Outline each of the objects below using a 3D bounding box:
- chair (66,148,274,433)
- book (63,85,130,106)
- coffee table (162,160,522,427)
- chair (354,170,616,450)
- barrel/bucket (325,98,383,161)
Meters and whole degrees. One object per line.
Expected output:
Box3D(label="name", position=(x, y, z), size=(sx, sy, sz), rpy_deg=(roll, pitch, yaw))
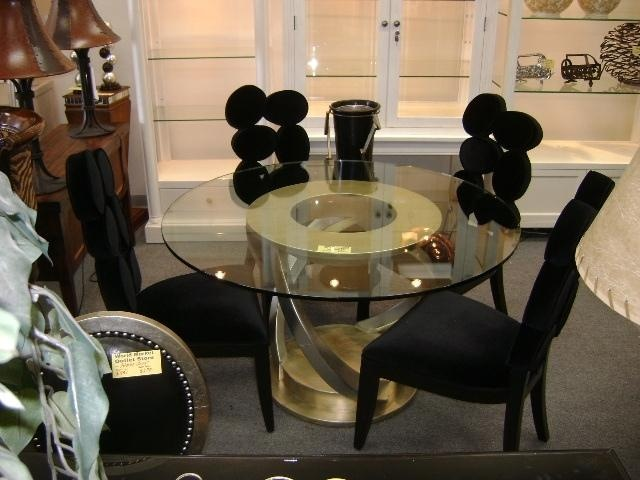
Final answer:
Box3D(label="chair", position=(-0.564, 0.185, 2.238), size=(0.716, 1.116, 0.623), rpy_deg=(-2, 15, -11))
Box3D(label="book", position=(-1.454, -0.937, 3.603), size=(0.234, 0.061, 0.256), rpy_deg=(7, 21, 16))
Box3D(label="coffee table", position=(0.044, 0.078, 2.320), size=(1.203, 0.681, 1.226), rpy_deg=(-2, 25, -5))
Box3D(label="chair", position=(0.580, 0.253, 2.044), size=(0.701, 1.054, 0.609), rpy_deg=(18, 47, 29))
Box3D(label="barrel/bucket", position=(0.171, -0.587, 2.875), size=(0.317, 0.322, 0.301), rpy_deg=(0, 31, 0))
